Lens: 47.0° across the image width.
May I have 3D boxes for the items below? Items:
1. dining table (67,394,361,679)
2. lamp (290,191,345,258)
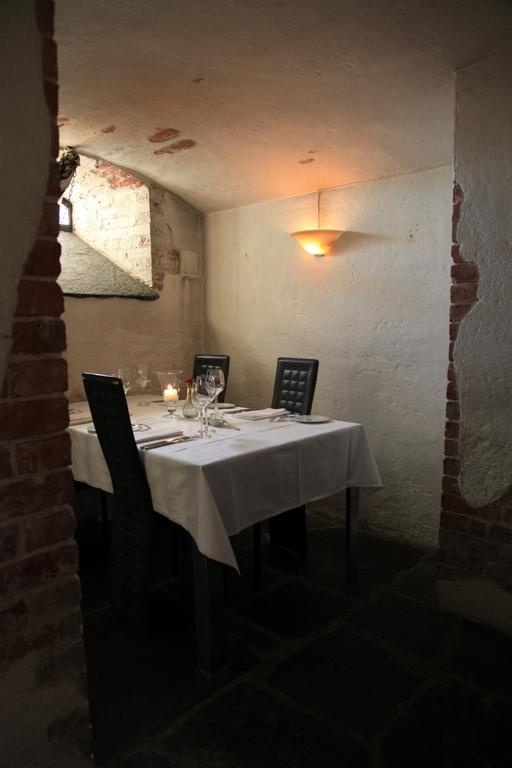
[{"bbox_3d":[-0.139,0.510,2.475,0.830,0.574,1.096,-11,6,-36],"label":"dining table"},{"bbox_3d":[0.360,-0.944,3.412,0.305,0.432,0.312,-3,-5,23],"label":"lamp"}]
